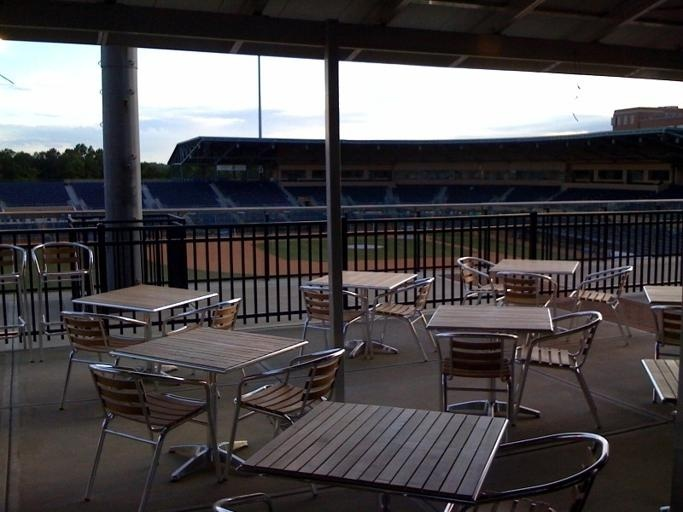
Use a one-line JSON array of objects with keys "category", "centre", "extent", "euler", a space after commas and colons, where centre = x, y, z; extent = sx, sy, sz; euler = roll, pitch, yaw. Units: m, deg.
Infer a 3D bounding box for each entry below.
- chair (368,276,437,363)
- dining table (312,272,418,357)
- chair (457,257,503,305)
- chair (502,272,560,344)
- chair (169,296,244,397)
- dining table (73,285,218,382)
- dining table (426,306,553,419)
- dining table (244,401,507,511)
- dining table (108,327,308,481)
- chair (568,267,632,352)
[{"category": "chair", "centre": [0.871, 0.766, 7.978], "extent": [1.147, 1.170, 1.030], "euler": [2, 6, 10]}, {"category": "dining table", "centre": [0.400, 0.632, 7.692], "extent": [1.291, 1.030, 1.208], "euler": [4, 16, 19]}, {"category": "chair", "centre": [2.109, 0.415, 9.139], "extent": [0.777, 0.890, 0.787], "euler": [0, 9, 23]}, {"category": "chair", "centre": [2.422, 0.511, 8.144], "extent": [0.831, 1.044, 0.791], "euler": [6, 26, 28]}, {"category": "chair", "centre": [-1.391, 0.821, 6.042], "extent": [0.650, 0.757, 0.594], "euler": [5, 2, 17]}, {"category": "dining table", "centre": [-2.078, 0.863, 6.577], "extent": [1.230, 0.788, 1.223], "euler": [8, 10, 37]}, {"category": "dining table", "centre": [1.490, 0.990, 5.885], "extent": [1.101, 0.855, 1.016], "euler": [-1, 9, 10]}, {"category": "dining table", "centre": [0.236, 1.104, 3.407], "extent": [1.196, 0.233, 0.952], "euler": [0, 2, 24]}, {"category": "dining table", "centre": [-1.146, 1.291, 4.942], "extent": [1.422, 0.849, 1.364], "euler": [10, -11, -21]}, {"category": "chair", "centre": [3.582, 0.762, 8.269], "extent": [1.050, 1.139, 0.990], "euler": [1, 9, 21]}]
